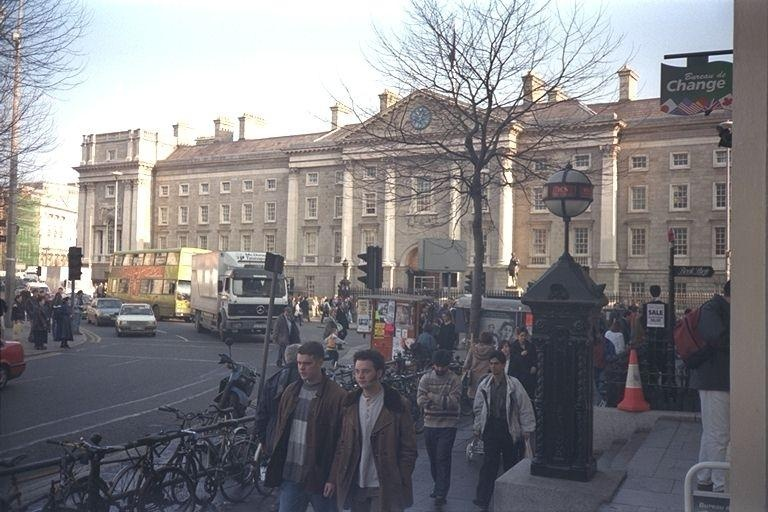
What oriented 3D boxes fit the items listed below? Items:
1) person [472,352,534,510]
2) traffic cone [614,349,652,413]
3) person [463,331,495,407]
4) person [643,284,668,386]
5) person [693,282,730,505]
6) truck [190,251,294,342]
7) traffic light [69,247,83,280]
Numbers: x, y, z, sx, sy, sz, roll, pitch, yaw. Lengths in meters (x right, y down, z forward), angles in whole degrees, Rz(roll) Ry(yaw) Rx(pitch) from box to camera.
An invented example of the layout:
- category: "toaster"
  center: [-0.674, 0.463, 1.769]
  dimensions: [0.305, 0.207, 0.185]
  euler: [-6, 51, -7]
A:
- category: "person"
  center: [2.035, 2.896, 14.978]
  dimensions: [1.149, 2.424, 1.073]
  euler: [0, -1, -4]
- category: "traffic cone"
  center: [5.047, 2.510, 17.973]
  dimensions: [0.633, 1.221, 0.740]
  euler: [0, -2, 15]
- category: "person"
  center: [1.923, 2.118, 17.047]
  dimensions: [0.592, 1.261, 0.693]
  euler: [1, -2, -32]
- category: "person"
  center: [6.234, 1.894, 20.403]
  dimensions: [0.576, 2.061, 0.668]
  euler: [-3, -14, 7]
- category: "person"
  center: [5.009, 2.048, 13.718]
  dimensions: [0.772, 3.289, 0.670]
  euler: [0, -2, -11]
- category: "truck"
  center: [-6.622, 1.698, 39.709]
  dimensions: [3.880, 3.719, 8.658]
  euler: [1, -2, -13]
- category: "traffic light"
  center: [-11.196, 0.273, 32.140]
  dimensions: [0.417, 1.184, 1.838]
  euler: [2, -2, -21]
